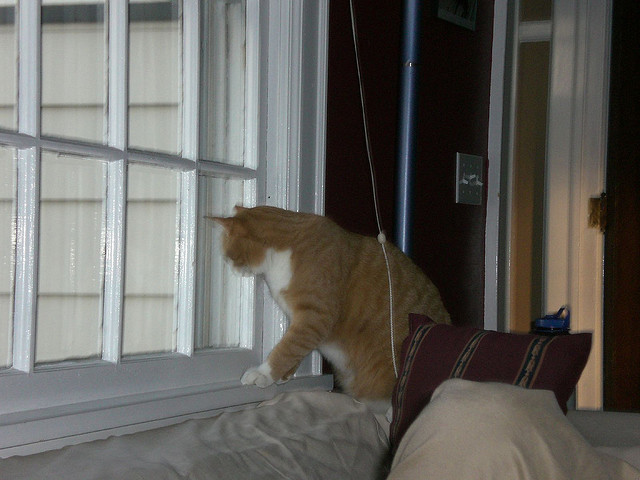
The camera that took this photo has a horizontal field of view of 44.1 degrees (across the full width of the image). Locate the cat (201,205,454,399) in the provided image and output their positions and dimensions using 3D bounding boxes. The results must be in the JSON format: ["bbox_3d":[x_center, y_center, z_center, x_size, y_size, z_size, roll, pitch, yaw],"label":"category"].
[{"bbox_3d":[0.062,0.257,2.525,0.752,0.648,0.328,6,-25,-8],"label":"cat"}]

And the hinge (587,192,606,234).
[{"bbox_3d":[1.154,-0.109,3.266,0.087,0.125,0.012,-2,-2,-7],"label":"hinge"}]

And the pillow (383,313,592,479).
[{"bbox_3d":[0.446,0.445,2.125,0.518,0.433,0.215,6,5,15],"label":"pillow"}]
